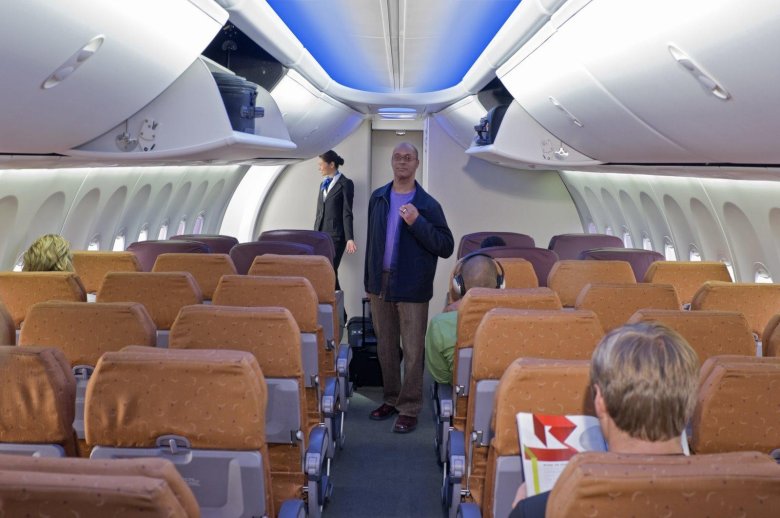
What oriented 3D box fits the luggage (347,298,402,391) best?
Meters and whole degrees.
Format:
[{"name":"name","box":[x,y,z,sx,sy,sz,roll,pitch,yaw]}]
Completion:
[{"name":"luggage","box":[-0.222,0.905,7.113,0.612,0.952,0.908,6,9,-1]}]

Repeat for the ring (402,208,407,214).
[{"name":"ring","box":[0.119,-0.406,5.315,0.040,0.037,0.013,4,-12,13]}]

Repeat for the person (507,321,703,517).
[{"name":"person","box":[0.842,0.648,2.473,0.886,0.829,0.472,-3,22,0]}]

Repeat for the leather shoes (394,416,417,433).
[{"name":"leather shoes","box":[0.157,1.490,5.677,0.236,0.153,0.101,9,-20,-29]}]

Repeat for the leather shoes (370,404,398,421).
[{"name":"leather shoes","box":[-0.040,1.444,5.949,0.317,0.127,0.112,9,-10,-43]}]
